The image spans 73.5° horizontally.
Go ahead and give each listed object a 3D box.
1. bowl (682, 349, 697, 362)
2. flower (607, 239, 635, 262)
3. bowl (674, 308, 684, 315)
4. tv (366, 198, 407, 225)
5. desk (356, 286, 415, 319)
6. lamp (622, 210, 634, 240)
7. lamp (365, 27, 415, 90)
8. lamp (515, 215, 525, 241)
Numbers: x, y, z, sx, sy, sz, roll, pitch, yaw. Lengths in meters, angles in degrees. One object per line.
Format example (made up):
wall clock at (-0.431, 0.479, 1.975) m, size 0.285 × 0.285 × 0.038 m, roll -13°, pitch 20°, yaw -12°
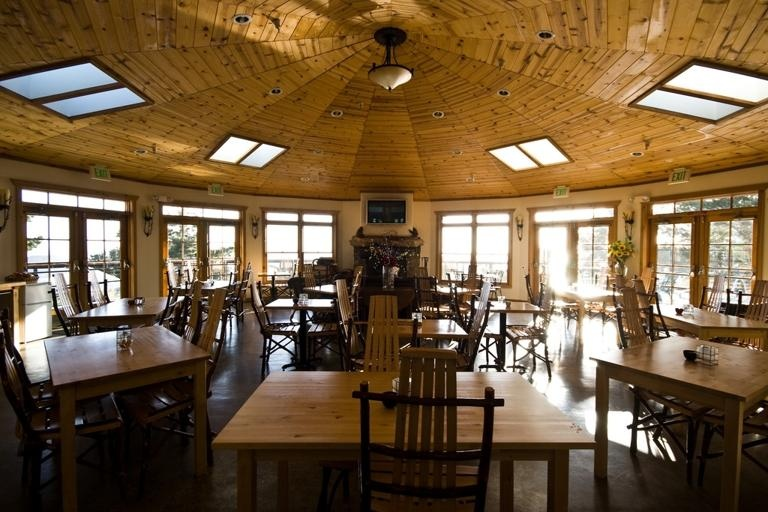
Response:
bowl at (3.166, 1.032, 5.345) m, size 0.122 × 0.076 × 0.126 m, roll 1°, pitch -7°, yaw 0°
flower at (4.962, -0.130, 10.761) m, size 0.555 × 0.451 × 0.516 m, roll 3°, pitch -6°, yaw -34°
bowl at (4.127, 0.766, 7.223) m, size 0.113 × 0.067 × 0.095 m, roll 0°, pitch -1°, yaw 5°
tv at (0.070, -1.118, 12.757) m, size 0.789 × 0.422 × 0.090 m, roll 0°, pitch 0°, yaw -1°
desk at (0.093, 0.766, 9.266) m, size 1.139 × 0.438 × 0.681 m, roll 1°, pitch 9°, yaw 2°
lamp at (5.169, -0.660, 10.945) m, size 0.110 × 0.590 × 0.242 m, roll 0°, pitch -1°, yaw -25°
lamp at (0.076, -2.903, 7.736) m, size 0.598 × 0.884 × 1.118 m, roll 0°, pitch -1°, yaw -1°
lamp at (3.347, -0.697, 12.744) m, size 0.202 × 0.612 × 0.087 m, roll 0°, pitch 0°, yaw 29°
